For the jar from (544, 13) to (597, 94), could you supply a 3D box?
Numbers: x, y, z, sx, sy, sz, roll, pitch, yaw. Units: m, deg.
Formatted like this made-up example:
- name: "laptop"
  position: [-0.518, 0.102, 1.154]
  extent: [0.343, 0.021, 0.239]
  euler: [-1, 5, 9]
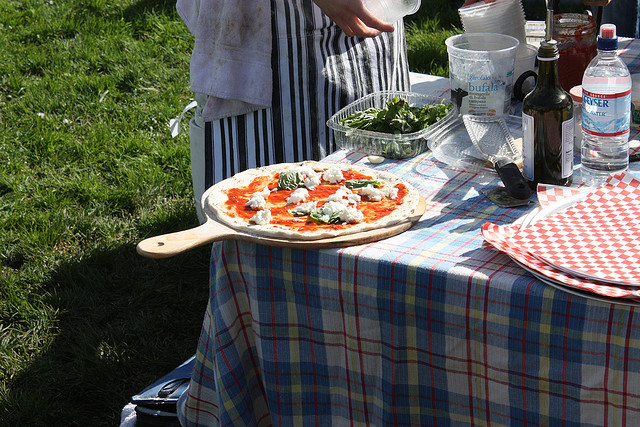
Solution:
- name: "jar"
  position: [1.110, -0.709, 3.500]
  extent: [0.198, 0.349, 0.215]
  euler: [-4, 44, 4]

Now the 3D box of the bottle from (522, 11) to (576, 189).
- name: "bottle"
  position: [0.875, -0.358, 2.969]
  extent: [0.204, 0.530, 0.152]
  euler: [3, 29, 15]
